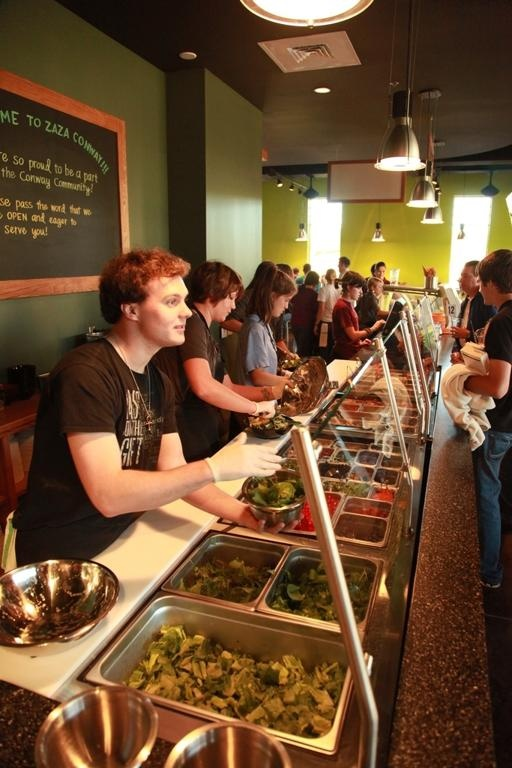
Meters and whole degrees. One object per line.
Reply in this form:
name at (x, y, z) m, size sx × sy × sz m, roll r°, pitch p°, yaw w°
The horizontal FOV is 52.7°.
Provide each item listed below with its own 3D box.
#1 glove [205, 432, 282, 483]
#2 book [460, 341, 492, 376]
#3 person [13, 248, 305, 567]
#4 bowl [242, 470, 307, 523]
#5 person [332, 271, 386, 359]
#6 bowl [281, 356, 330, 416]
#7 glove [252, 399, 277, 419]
glove at (-0.027, 0.190, 1.326) m, size 0.170 × 0.102 × 0.110 m, roll -12°, pitch -32°, yaw 22°
book at (0.997, -0.106, 2.356) m, size 0.085 × 0.157 × 0.113 m, roll -35°, pitch 25°, yaw -17°
person at (-0.295, -0.062, 1.571) m, size 0.758 × 1.231 × 0.631 m, roll 3°, pitch 17°, yaw 0°
bowl at (0.049, 0.293, 1.279) m, size 0.161 × 0.073 × 0.160 m, roll -3°, pitch 25°, yaw 1°
person at (1.075, -0.502, 5.389) m, size 0.642 × 1.276 × 0.506 m, roll 1°, pitch 17°, yaw 5°
bowl at (0.235, -0.037, 2.161) m, size 0.174 × 0.064 × 0.234 m, roll -18°, pitch 20°, yaw 20°
glove at (0.028, 0.101, 2.078) m, size 0.082 × 0.084 × 0.052 m, roll 1°, pitch 8°, yaw -26°
